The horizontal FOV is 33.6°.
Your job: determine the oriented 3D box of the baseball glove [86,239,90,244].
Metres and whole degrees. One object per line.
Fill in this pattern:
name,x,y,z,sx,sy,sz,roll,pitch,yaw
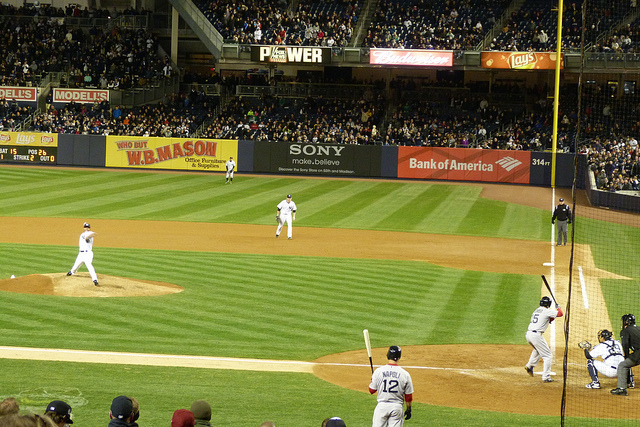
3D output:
baseball glove,-10.216,1.198,46.351,0.189,0.156,0.203,-1,-6,-2

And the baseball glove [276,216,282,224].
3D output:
baseball glove,-2.128,0.330,54.858,0.252,0.399,0.553,0,3,-8

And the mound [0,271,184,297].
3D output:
mound,-10.301,3.207,46.602,5.075,0.553,2.787,3,6,1

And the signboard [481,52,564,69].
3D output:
signboard,13.736,-10.590,73.345,4.948,1.124,0.611,1,3,10

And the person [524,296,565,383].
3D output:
person,8.633,4.874,41.139,1.093,3.204,1.163,4,4,44

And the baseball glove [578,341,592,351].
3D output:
baseball glove,10.263,5.102,41.049,0.390,0.317,0.672,1,3,9

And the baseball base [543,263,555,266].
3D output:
baseball base,11.080,2.464,51.282,0.510,0.087,0.445,1,3,4
